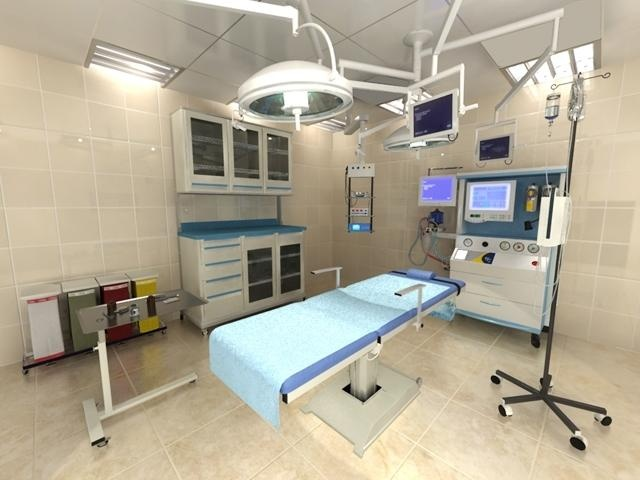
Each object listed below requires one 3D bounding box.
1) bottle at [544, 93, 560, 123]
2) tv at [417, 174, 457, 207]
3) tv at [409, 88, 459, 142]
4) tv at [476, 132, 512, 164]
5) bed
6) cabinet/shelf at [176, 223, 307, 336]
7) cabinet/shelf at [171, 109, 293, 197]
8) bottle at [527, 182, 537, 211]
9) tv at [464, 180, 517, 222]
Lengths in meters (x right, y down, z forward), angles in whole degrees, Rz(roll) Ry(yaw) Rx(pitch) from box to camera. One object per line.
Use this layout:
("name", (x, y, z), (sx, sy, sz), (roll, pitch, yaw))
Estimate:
("bottle", (2.066, -1.197, 3.741), (0.102, 0.226, 0.236), (2, 8, 30))
("tv", (1.404, -0.583, 5.010), (0.400, 0.335, 0.132), (5, 5, 41))
("tv", (0.922, -1.025, 3.467), (0.569, 0.417, 0.062), (3, 5, 44))
("tv", (1.944, -1.018, 4.677), (0.038, 0.260, 0.365), (-8, 9, -41))
("bed", (0.340, 0.931, 3.671), (0.949, 1.161, 2.353), (12, 19, 44))
("cabinet/shelf", (-0.893, 0.368, 5.300), (1.456, 1.164, 0.680), (-8, 13, -38))
("cabinet/shelf", (-1.076, -0.986, 4.800), (0.291, 0.664, 1.130), (0, 1, 40))
("bottle", (2.295, -0.452, 4.573), (0.114, 0.300, 0.085), (3, 9, 35))
("tv", (1.912, -0.433, 4.679), (0.443, 0.430, 0.149), (5, 8, 43))
